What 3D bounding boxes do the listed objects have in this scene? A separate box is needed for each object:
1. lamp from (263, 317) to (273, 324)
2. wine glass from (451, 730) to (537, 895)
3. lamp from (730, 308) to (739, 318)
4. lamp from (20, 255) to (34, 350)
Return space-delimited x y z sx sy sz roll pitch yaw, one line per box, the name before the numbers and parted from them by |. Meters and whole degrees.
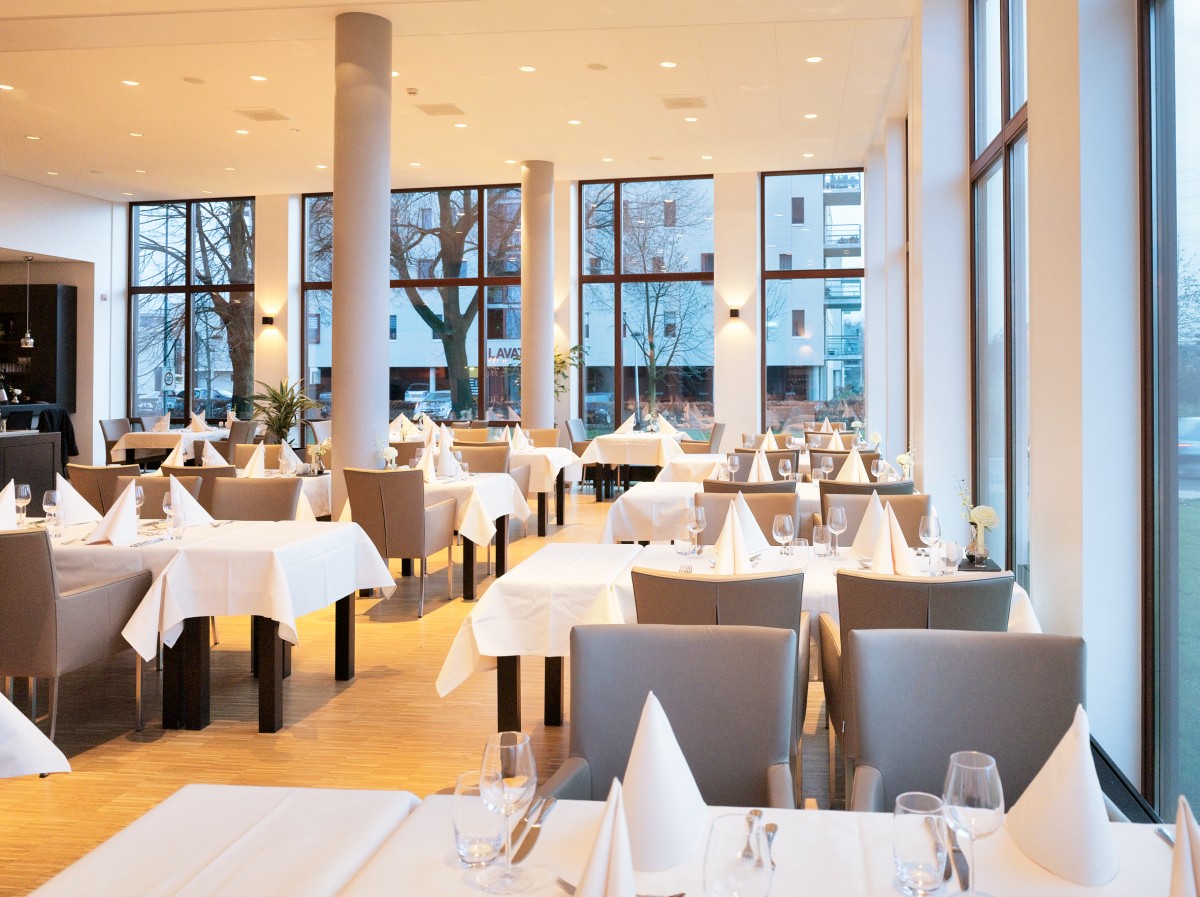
lamp | -4.800 -1.845 15.034 0.200 0.136 0.032 1 6 17
wine glass | -0.236 0.788 2.317 0.174 0.313 0.217 -2 6 -10
lamp | 1.785 -1.799 13.828 0.090 0.109 0.100 2 7 13
lamp | -8.140 -2.025 14.751 0.191 1.254 0.813 -4 7 -29
